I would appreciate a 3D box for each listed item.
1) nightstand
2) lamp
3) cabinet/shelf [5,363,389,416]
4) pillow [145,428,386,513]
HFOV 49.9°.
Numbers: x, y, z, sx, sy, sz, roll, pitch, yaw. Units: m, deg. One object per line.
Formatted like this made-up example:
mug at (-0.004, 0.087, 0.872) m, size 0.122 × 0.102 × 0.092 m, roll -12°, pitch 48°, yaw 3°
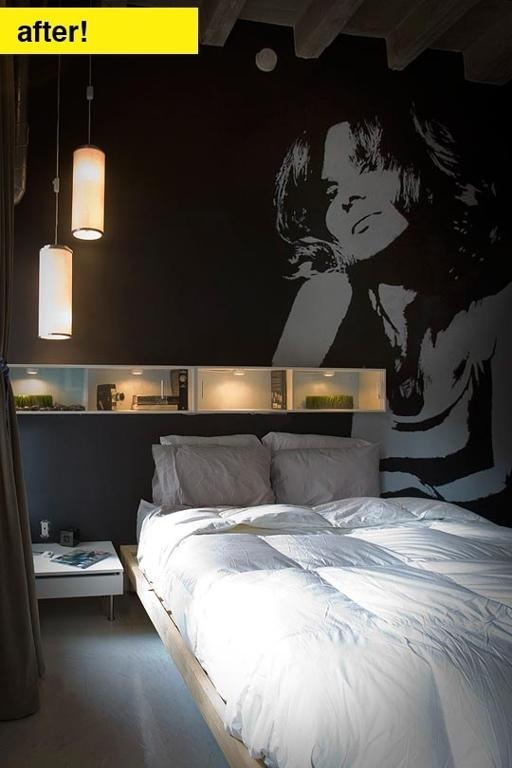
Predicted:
nightstand at (-1.048, 1.161, 3.217) m, size 0.504 × 0.352 × 0.615 m, roll 1°, pitch -4°, yaw -19°
lamp at (-1.102, -1.247, 3.342) m, size 0.346 × 1.949 × 0.676 m, roll 1°, pitch -4°, yaw -16°
cabinet/shelf at (-0.326, 0.019, 3.857) m, size 2.564 × 0.356 × 0.138 m, roll 1°, pitch -4°, yaw -18°
pillow at (0.078, 0.558, 3.684) m, size 1.515 × 0.463 × 0.499 m, roll 2°, pitch -4°, yaw -21°
